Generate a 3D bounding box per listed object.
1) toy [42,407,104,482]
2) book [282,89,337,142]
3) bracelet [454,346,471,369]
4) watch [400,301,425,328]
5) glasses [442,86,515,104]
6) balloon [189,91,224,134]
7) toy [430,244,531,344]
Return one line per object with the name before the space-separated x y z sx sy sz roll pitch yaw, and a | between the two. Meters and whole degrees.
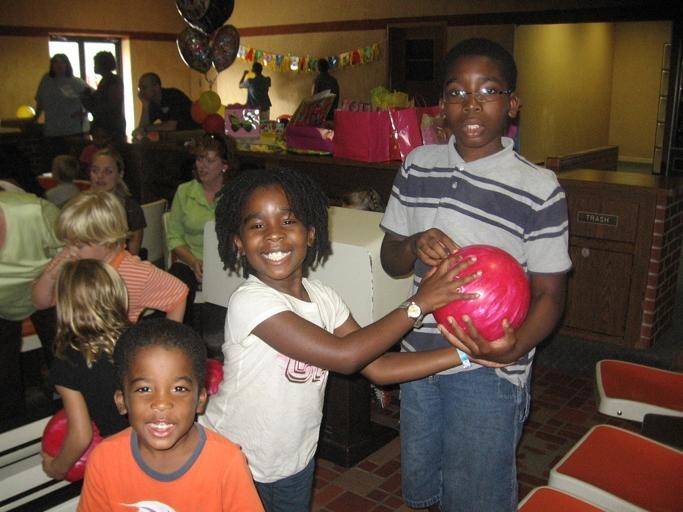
toy | -1.044 0.770 2.046 0.186 0.134 0.236 -8 6 30
book | -0.235 -1.464 5.406 0.663 0.476 0.475 9 18 36
bracelet | 0.398 0.330 1.708 0.041 0.072 0.019 -27 0 28
watch | 0.220 0.175 1.540 0.077 0.059 0.072 45 -2 22
glasses | 0.450 -0.526 1.710 0.205 0.047 0.061 1 15 10
balloon | -1.742 -1.886 6.758 0.398 0.522 0.941 -6 15 -14
toy | 0.387 0.105 1.567 0.269 0.290 0.272 0 14 7
